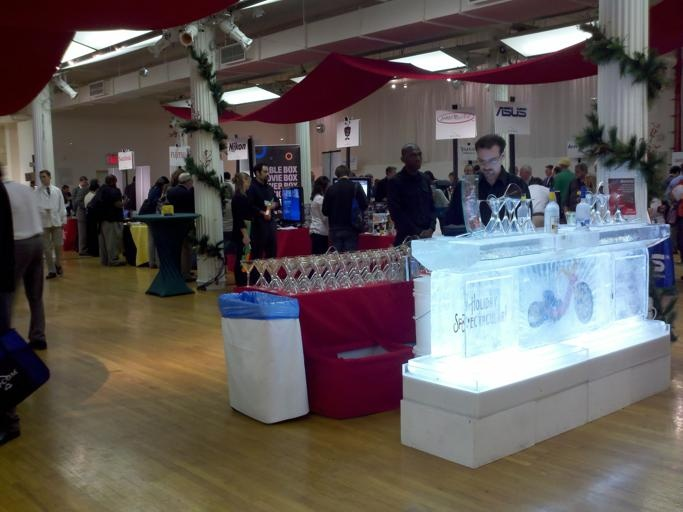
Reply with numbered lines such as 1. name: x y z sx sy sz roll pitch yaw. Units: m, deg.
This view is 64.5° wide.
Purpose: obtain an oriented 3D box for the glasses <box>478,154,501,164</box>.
1. glasses: 1.078 -0.688 3.896 0.152 0.051 0.092 0 8 10

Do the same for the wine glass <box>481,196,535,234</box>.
1. wine glass: 1.071 -0.261 3.470 0.476 0.229 0.216 -9 11 -41

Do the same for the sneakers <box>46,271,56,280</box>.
1. sneakers: -4.990 0.348 9.344 0.082 0.115 0.170 -1 -5 34

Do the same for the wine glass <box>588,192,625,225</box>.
1. wine glass: 2.031 -0.358 4.096 0.202 0.216 0.685 3 10 31

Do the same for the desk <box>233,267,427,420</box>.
1. desk: 0.139 0.636 3.790 0.971 0.750 0.532 -3 4 -31

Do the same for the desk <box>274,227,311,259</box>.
1. desk: -0.796 -0.212 8.876 0.737 0.579 0.387 -1 0 -45

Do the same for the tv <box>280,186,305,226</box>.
1. tv: -0.793 -0.777 8.716 0.499 0.647 0.085 12 20 40

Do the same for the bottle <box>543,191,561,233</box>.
1. bottle: 1.385 -0.291 3.559 0.082 0.248 0.228 1 8 21

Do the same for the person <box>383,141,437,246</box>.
1. person: 0.690 -0.556 5.088 0.493 0.947 0.544 -3 8 -7

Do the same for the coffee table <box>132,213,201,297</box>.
1. coffee table: -2.357 -0.048 7.823 1.014 1.235 0.985 -4 7 -36

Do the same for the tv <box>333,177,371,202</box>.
1. tv: 0.230 -0.896 7.954 0.506 0.396 0.296 1 8 9

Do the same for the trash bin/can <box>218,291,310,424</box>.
1. trash bin/can: -0.557 0.669 3.748 0.584 0.760 0.380 7 8 42
